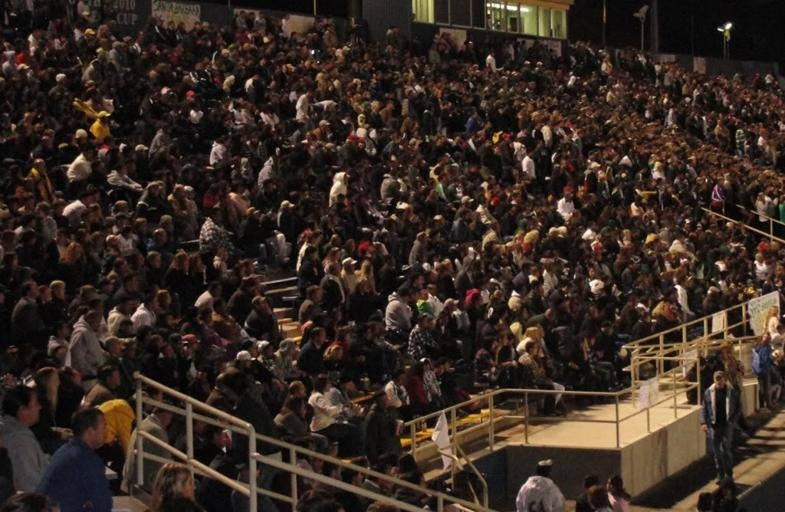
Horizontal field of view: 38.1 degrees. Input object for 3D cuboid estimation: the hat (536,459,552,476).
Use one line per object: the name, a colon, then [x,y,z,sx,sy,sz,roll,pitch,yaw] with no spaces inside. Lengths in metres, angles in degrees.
hat: [3.015,4.198,22.310,0.221,0.320,0.510,2,8,12]

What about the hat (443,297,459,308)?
hat: [1.433,1.143,27.051,0.319,0.226,0.564,1,8,5]

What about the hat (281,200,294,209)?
hat: [-2.613,-1.253,28.454,0.300,0.139,0.179,-4,14,-23]

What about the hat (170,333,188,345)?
hat: [-4.271,1.654,22.574,0.213,0.204,0.504,1,8,2]

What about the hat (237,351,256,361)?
hat: [-2.876,1.971,22.109,0.273,0.139,0.190,-5,2,-8]

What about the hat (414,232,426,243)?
hat: [0.773,-0.450,29.194,0.298,0.266,0.384,0,8,-1]
